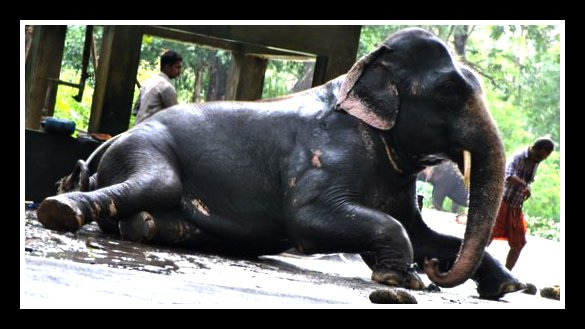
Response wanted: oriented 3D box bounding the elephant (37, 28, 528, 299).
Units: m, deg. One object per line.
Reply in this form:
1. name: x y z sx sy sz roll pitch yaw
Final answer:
1. elephant: -0.122 0.081 6.302 4.487 2.179 2.587 -1 -15 11
